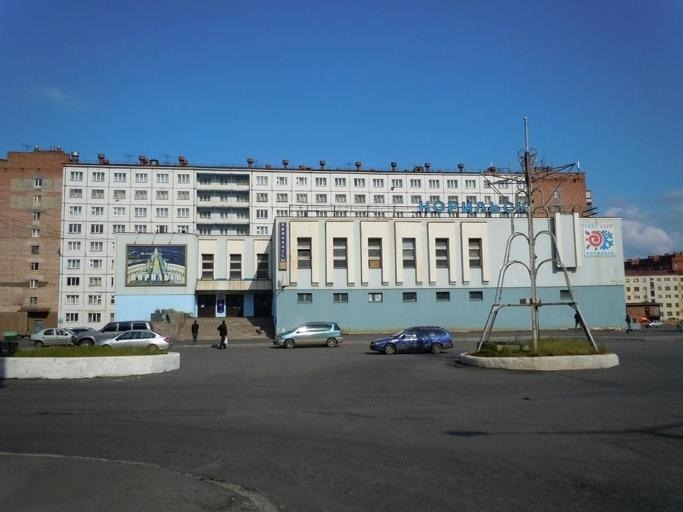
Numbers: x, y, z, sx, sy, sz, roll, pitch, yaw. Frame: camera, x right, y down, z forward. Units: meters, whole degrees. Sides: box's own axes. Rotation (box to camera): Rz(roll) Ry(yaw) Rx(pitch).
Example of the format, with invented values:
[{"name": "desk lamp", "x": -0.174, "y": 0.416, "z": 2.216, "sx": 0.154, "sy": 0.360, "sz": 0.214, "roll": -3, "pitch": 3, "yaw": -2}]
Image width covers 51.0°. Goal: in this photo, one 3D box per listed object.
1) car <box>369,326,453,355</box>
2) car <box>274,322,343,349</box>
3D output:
[{"name": "car", "x": 3.632, "y": 4.292, "z": 35.909, "sx": 3.555, "sy": 1.197, "sz": 1.640, "roll": 1, "pitch": -8, "yaw": -4}, {"name": "car", "x": -1.898, "y": 4.539, "z": 40.927, "sx": 3.620, "sy": 1.328, "sz": 1.564, "roll": 2, "pitch": -7, "yaw": -9}]
